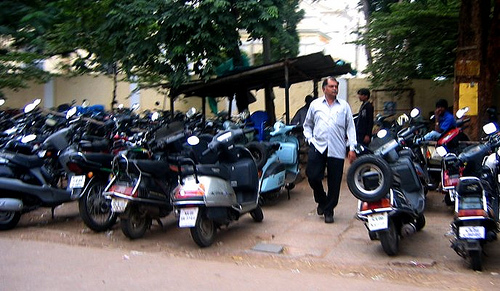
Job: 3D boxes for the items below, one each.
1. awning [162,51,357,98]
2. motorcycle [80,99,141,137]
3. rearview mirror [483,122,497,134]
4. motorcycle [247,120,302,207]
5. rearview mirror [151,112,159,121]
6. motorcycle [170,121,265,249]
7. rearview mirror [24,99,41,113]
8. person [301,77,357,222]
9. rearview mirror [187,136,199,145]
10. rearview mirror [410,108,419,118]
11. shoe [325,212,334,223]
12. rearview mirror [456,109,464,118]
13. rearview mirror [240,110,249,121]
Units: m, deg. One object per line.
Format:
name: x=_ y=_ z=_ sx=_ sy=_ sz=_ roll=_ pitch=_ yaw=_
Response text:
awning: x=0.781 y=-2.138 z=11.362 sx=4.906 sy=0.179 sz=1.772 roll=-2 pitch=-8 yaw=45
motorcycle: x=-3.833 y=-0.728 z=9.414 sx=1.658 sy=0.899 sz=0.982 roll=6 pitch=-5 yaw=-6
rearview mirror: x=3.891 y=-0.274 z=5.737 sx=0.196 sy=0.169 sz=0.120 roll=-1 pitch=9 yaw=1
motorcycle: x=0.595 y=0.352 z=8.514 sx=1.375 sy=1.646 sz=2.840 roll=0 pitch=9 yaw=24
rearview mirror: x=-2.113 y=-0.645 z=8.022 sx=0.139 sy=0.175 sz=0.337 roll=-3 pitch=8 yaw=-10
motorcycle: x=-0.554 y=0.707 z=6.221 sx=0.781 sy=1.971 sz=1.737 roll=5 pitch=11 yaw=36
rearview mirror: x=-4.945 y=-0.889 z=8.071 sx=0.277 sy=0.303 sz=0.501 roll=-5 pitch=9 yaw=-22
person: x=1.529 y=0.101 z=6.817 sx=0.972 sy=2.764 sz=0.604 roll=1 pitch=10 yaw=13
rearview mirror: x=-0.891 y=-0.083 z=5.700 sx=0.127 sy=0.137 sz=0.034 roll=3 pitch=-27 yaw=-2
rearview mirror: x=3.315 y=-0.634 z=7.137 sx=0.160 sy=0.180 sz=0.301 roll=3 pitch=9 yaw=24
shoe: x=1.538 y=1.394 z=6.863 sx=0.150 sy=0.179 sz=0.115 roll=0 pitch=9 yaw=6
rearview mirror: x=4.030 y=-0.600 z=6.789 sx=0.112 sy=0.145 sz=0.353 roll=4 pitch=10 yaw=31
rearview mirror: x=-0.123 y=-0.737 z=8.891 sx=0.214 sy=0.283 sz=0.528 roll=-1 pitch=8 yaw=-1
